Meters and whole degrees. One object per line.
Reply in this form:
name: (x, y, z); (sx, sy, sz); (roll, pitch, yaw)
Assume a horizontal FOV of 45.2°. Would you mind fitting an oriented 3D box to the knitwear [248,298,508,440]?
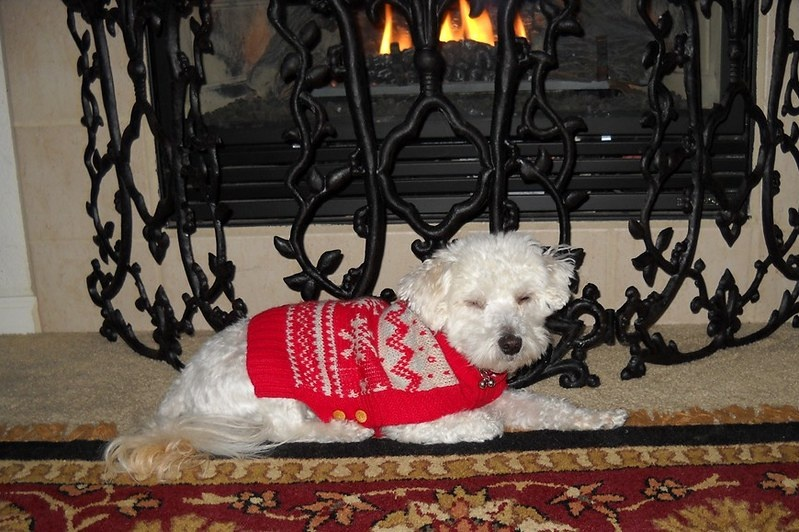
knitwear: (-0.158, 0.417, 4.245); (0.816, 0.384, 0.591); (2, 20, -6)
